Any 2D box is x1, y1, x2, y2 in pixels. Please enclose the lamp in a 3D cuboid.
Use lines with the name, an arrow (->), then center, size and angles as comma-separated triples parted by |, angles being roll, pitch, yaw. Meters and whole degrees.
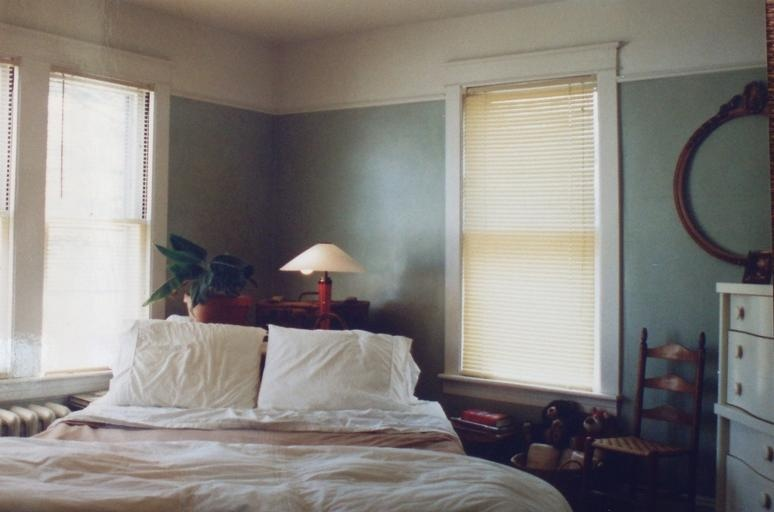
lamp -> -0.374, 0.219, 4.329 | 0.559, 0.694, 0.632 | -1, 2, -27

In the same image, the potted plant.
potted plant -> -1.260, 0.169, 4.312 | 0.662, 0.602, 0.381 | 2, 13, 1

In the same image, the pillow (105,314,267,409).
pillow -> -1.183, 0.632, 3.659 | 0.873, 0.430, 0.409 | 2, 13, 0

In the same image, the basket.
basket -> 0.988, 1.343, 3.855 | 0.378, 0.281, 0.336 | -8, -13, 37

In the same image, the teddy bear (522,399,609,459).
teddy bear -> 1.129, 1.083, 4.000 | 0.318, 0.170, 0.405 | -3, 6, 36

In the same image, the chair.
chair -> 1.611, 0.968, 3.789 | 0.561, 1.025, 0.515 | 9, 14, 27
